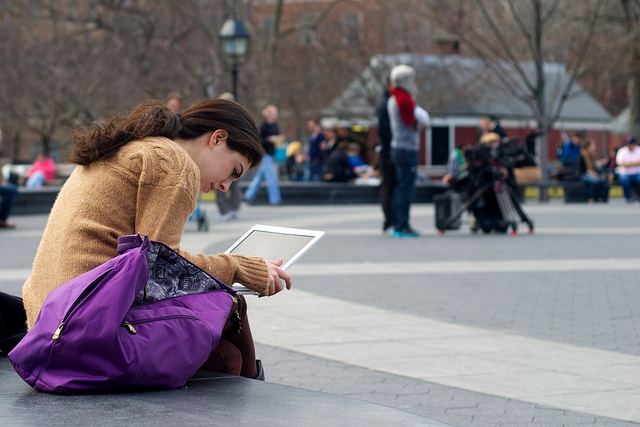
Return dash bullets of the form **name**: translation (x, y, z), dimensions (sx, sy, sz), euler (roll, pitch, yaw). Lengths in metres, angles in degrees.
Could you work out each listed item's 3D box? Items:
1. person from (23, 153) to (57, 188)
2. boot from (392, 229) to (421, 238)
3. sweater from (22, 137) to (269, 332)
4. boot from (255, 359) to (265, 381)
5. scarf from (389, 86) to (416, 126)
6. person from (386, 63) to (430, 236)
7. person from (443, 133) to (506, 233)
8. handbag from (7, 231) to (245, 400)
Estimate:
- **person**: translation (-6.233, -0.862, 24.187), dimensions (0.457, 1.095, 0.581), euler (-16, -11, 37)
- **boot**: translation (0.887, 0.196, 11.099), dimensions (0.264, 0.114, 0.092), euler (-2, 6, -8)
- **sweater**: translation (-1.249, 0.106, 6.439), dimensions (1.065, 1.085, 0.348), euler (-5, 4, -13)
- **boot**: translation (-0.386, 1.014, 6.924), dimensions (0.097, 0.115, 0.111), euler (-4, 4, -2)
- **scarf**: translation (0.719, -0.923, 9.236), dimensions (0.074, 0.217, 0.159), euler (-26, 10, 21)
- **person**: translation (0.956, -0.685, 11.546), dimensions (0.550, 1.869, 0.610), euler (-2, -1, 10)
- **person**: translation (1.644, -0.313, 11.303), dimensions (0.575, 1.010, 0.476), euler (13, -29, -3)
- **handbag**: translation (-1.180, 0.573, 6.454), dimensions (1.167, 0.831, 0.863), euler (3, 5, -31)
